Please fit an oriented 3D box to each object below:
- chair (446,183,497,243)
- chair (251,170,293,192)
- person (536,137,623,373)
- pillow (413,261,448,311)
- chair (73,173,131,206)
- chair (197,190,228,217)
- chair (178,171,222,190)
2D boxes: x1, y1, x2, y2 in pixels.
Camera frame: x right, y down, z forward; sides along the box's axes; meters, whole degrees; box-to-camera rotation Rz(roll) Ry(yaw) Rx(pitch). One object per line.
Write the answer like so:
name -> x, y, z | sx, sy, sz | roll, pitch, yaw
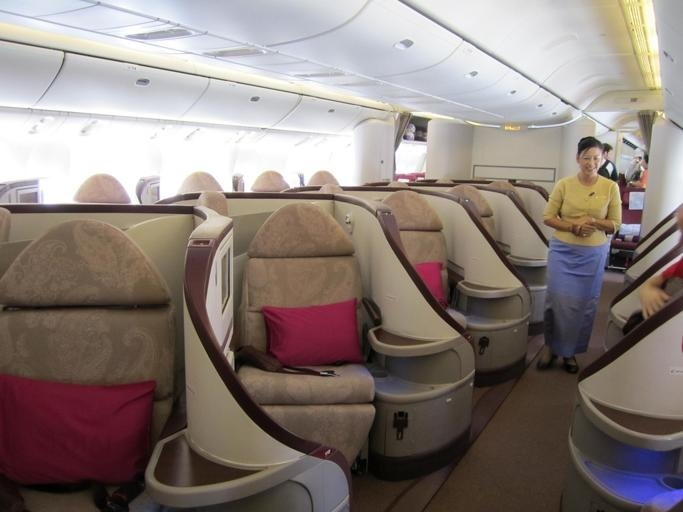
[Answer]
chair -> 1.354, -0.449, 4.952 | 0.412, 0.569, 0.585 | -2, 8, -23
chair -> -0.829, -0.865, 5.917 | 0.421, 0.272, 0.449 | -1, 9, 1
person -> 1.851, 0.034, 3.919 | 0.380, 1.867, 0.542 | -10, 12, -43
pillow -> 0.684, 0.201, 3.692 | 0.091, 0.334, 0.322 | -14, -7, 29
chair -> -2.097, -0.586, 4.343 | 0.426, 0.250, 0.355 | -7, 10, -29
chair -> -0.759, -0.315, 2.935 | 0.159, 0.182, 0.182 | -2, 6, -10
chair -> -1.151, -0.607, 4.045 | 0.295, 0.161, 0.577 | -5, 9, -17
